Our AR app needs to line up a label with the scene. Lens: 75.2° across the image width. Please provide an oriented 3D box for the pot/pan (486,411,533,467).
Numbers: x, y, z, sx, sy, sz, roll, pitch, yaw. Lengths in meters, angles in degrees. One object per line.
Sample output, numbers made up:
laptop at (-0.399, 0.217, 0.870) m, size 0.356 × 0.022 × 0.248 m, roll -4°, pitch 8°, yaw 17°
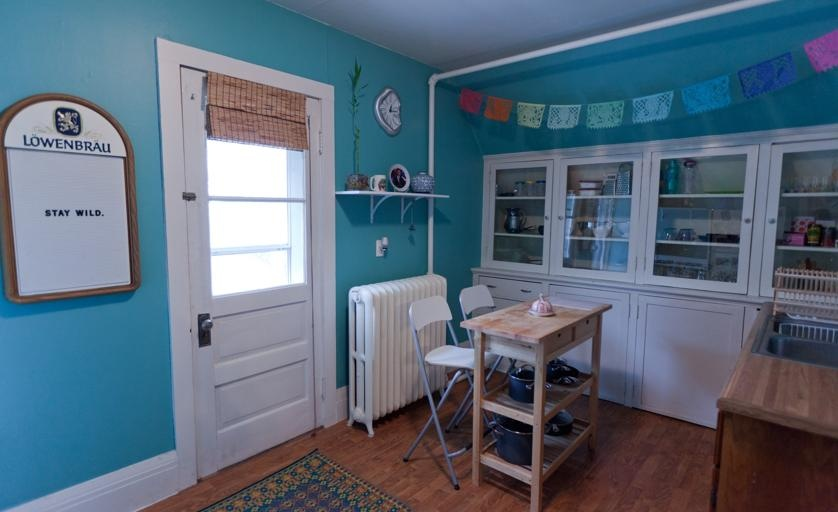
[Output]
pot/pan at (0.671, 1.360, 3.938) m, size 0.304 × 0.164 × 0.286 m, roll 1°, pitch 0°, yaw -5°

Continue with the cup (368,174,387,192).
cup at (-0.360, -0.692, 4.639) m, size 0.182 × 0.171 × 0.111 m, roll -2°, pitch 7°, yaw -28°

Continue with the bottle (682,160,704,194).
bottle at (2.389, -0.764, 4.789) m, size 0.148 × 0.315 × 0.059 m, roll -2°, pitch 8°, yaw 13°

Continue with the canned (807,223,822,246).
canned at (3.180, -0.208, 4.385) m, size 0.114 × 0.184 × 0.046 m, roll -3°, pitch 7°, yaw 3°

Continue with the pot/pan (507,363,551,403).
pot/pan at (0.796, 0.957, 3.990) m, size 0.274 × 0.235 × 0.210 m, roll 2°, pitch 0°, yaw 6°

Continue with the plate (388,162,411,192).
plate at (-0.168, -0.767, 4.948) m, size 0.153 × 0.255 × 0.314 m, roll -1°, pitch 7°, yaw 23°

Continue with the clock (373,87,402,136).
clock at (-0.277, -1.372, 4.882) m, size 0.059 × 0.430 × 0.307 m, roll 2°, pitch 9°, yaw 39°

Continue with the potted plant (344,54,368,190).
potted plant at (-0.547, -1.185, 4.596) m, size 0.166 × 1.140 × 0.327 m, roll -3°, pitch 7°, yaw 8°

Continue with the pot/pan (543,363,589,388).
pot/pan at (1.145, 0.947, 4.300) m, size 0.194 × 0.116 × 0.294 m, roll -3°, pitch 3°, yaw -38°

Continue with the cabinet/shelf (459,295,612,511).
cabinet/shelf at (0.873, 1.179, 4.122) m, size 0.653 × 1.317 × 1.458 m, roll 4°, pitch 7°, yaw 36°

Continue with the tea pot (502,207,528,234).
tea pot at (0.981, -0.419, 5.611) m, size 0.269 × 0.268 × 0.203 m, roll 2°, pitch 1°, yaw 12°

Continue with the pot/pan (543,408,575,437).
pot/pan at (1.036, 1.284, 4.094) m, size 0.324 × 0.141 × 0.432 m, roll 0°, pitch 2°, yaw 11°

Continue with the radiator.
radiator at (-0.232, 0.870, 4.607) m, size 0.475 × 1.450 × 1.349 m, roll 2°, pitch 4°, yaw 40°
